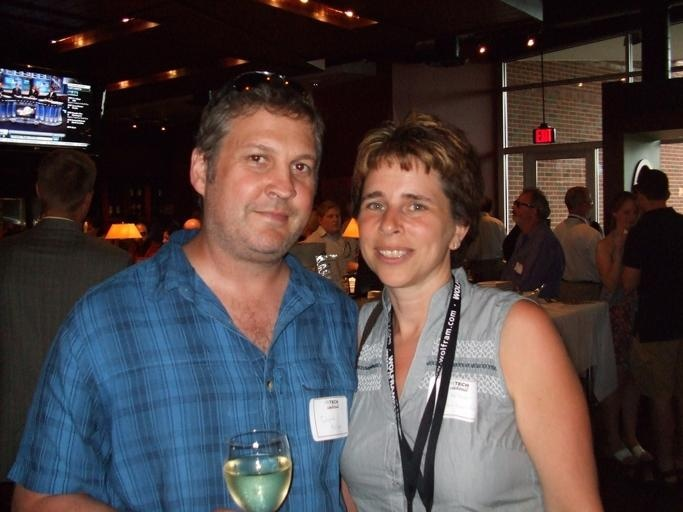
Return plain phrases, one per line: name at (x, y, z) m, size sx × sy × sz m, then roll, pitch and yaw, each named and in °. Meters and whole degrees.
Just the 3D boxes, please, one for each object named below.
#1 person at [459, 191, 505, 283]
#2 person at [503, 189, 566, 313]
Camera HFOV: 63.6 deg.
person at (1.936, -0.243, 7.815) m, size 0.688 × 0.720 × 2.303 m, roll -4°, pitch 32°, yaw 19°
person at (1.874, -0.136, 5.490) m, size 0.579 × 1.051 × 0.670 m, roll -6°, pitch 13°, yaw -6°
